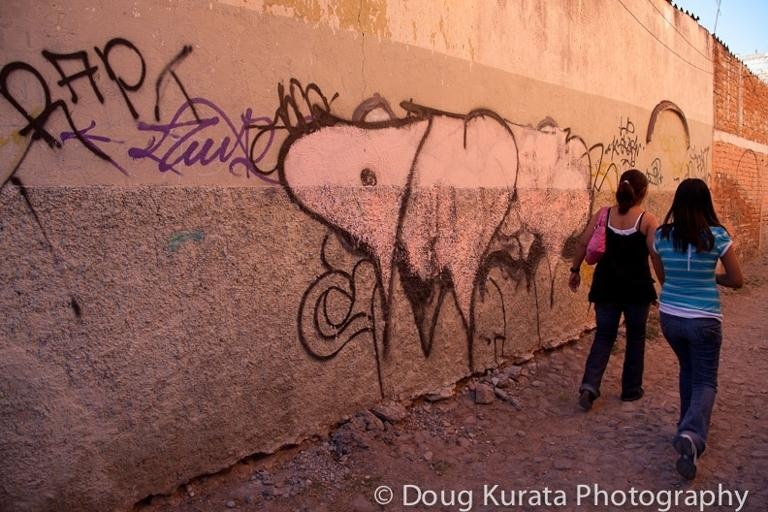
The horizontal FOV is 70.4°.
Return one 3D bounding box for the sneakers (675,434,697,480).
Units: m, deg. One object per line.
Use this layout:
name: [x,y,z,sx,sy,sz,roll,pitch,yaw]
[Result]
sneakers: [2.243,1.467,4.071,0.139,0.353,0.167,-12,-11,37]
